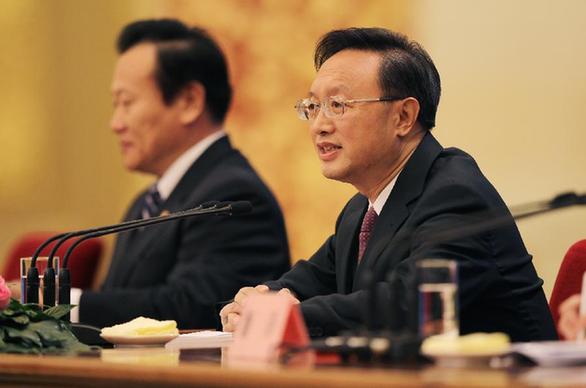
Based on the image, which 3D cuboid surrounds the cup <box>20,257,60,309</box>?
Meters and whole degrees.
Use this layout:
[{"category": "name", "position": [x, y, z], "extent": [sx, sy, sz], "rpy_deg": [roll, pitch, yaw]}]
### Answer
[{"category": "cup", "position": [-0.749, 0.260, 1.867], "extent": [0.109, 0.136, 0.229], "rpy_deg": [-4, 1, -34]}]

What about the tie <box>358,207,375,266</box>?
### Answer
[{"category": "tie", "position": [0.278, 0.147, 2.408], "extent": [0.046, 0.246, 0.027], "rpy_deg": [5, -15, 39]}]

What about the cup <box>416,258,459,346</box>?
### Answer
[{"category": "cup", "position": [0.318, 0.234, 1.382], "extent": [0.106, 0.168, 0.057], "rpy_deg": [-3, 2, -6]}]
